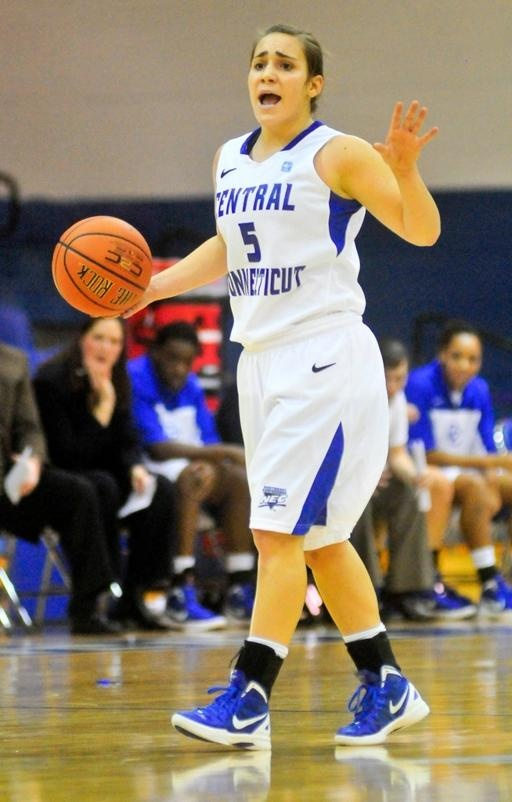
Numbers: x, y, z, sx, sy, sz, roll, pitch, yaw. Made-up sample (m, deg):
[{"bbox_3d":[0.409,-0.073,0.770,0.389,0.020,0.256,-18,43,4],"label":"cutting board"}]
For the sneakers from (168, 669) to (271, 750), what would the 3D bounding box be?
[{"bbox_3d":[-0.083,0.463,1.346,0.188,0.121,0.068,14,-26,-4],"label":"sneakers"}]

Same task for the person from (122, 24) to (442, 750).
[{"bbox_3d":[0.095,-0.049,1.421,0.396,1.133,0.557,-1,11,8],"label":"person"}]
